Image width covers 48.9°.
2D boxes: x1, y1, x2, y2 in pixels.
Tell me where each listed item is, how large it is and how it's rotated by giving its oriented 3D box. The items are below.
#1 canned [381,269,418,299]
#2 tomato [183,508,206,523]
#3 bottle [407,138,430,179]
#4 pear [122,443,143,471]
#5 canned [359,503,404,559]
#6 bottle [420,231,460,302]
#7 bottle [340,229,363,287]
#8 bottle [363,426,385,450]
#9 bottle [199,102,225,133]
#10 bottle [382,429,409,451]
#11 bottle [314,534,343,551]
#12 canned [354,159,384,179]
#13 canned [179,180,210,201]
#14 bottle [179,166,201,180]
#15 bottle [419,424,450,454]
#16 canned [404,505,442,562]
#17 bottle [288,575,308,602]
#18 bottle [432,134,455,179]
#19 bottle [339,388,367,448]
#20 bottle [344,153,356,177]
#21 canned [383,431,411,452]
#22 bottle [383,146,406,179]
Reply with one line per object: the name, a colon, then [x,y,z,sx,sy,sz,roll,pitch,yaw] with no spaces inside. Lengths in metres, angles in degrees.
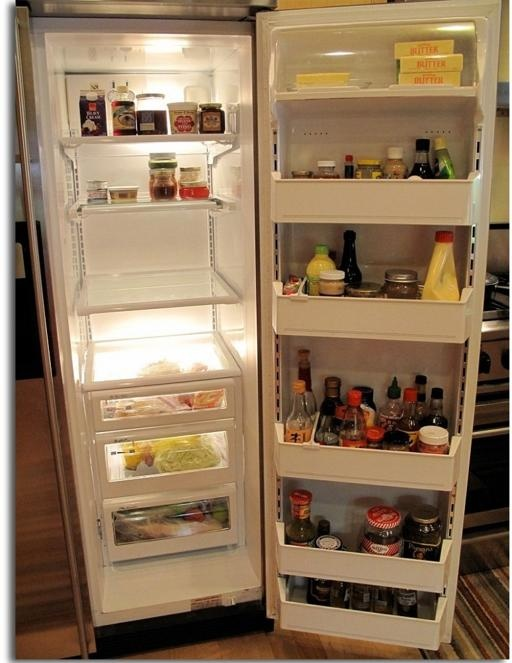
canned: [0.333,-0.109,1.303,0.071,0.062,0.070,0,17,3]
tomato: [-0.199,0.600,1.826,0.052,0.051,0.018,6,-4,-15]
bottle: [0.384,-0.403,1.308,0.054,0.089,0.098,4,19,16]
pear: [-0.393,0.396,1.782,0.069,0.084,0.030,3,1,-17]
canned: [0.306,0.500,1.438,0.115,0.169,0.110,1,16,-1]
bottle: [0.411,-0.141,1.243,0.080,0.149,0.129,4,19,17]
bottle: [0.232,-0.183,1.385,0.054,0.129,0.129,2,18,10]
bottle: [0.284,0.257,1.369,0.050,0.047,0.049,1,9,7]
bottle: [-0.123,-0.586,1.545,0.083,0.084,0.082,-1,21,-6]
bottle: [0.339,0.265,1.359,0.048,0.047,0.046,2,15,7]
bottle: [0.184,0.548,1.451,0.063,0.033,0.074,-3,18,-4]
canned: [0.262,-0.383,1.320,0.065,0.042,0.134,2,18,10]
canned: [-0.185,-0.430,1.718,0.076,0.045,0.075,-13,18,-39]
bottle: [-0.202,-0.484,1.719,0.047,0.032,0.047,1,15,0]
bottle: [0.410,0.252,1.317,0.063,0.056,0.062,-3,12,-10]
canned: [0.412,0.508,1.400,0.086,0.150,0.093,-3,13,-6]
bottle: [0.118,0.742,1.616,0.053,0.069,0.098,0,17,2]
bottle: [0.427,-0.395,1.277,0.055,0.091,0.132,4,19,16]
bottle: [0.239,0.208,1.389,0.066,0.149,0.162,2,18,10]
bottle: [0.223,-0.400,1.356,0.026,0.055,0.072,1,18,8]
canned: [0.340,0.264,1.358,0.044,0.047,0.051,-2,16,-1]
bottle: [0.315,-0.388,1.291,0.054,0.067,0.155,3,19,13]
